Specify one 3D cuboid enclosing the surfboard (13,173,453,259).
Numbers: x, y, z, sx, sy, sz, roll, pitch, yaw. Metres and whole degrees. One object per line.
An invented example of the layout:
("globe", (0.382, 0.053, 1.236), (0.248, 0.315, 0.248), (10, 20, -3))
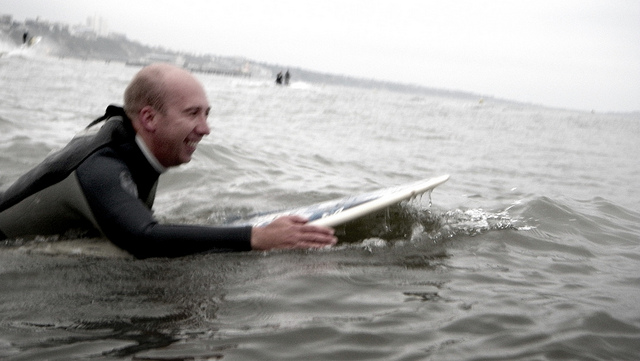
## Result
("surfboard", (-0.984, 0.407, 5.874), (3.887, 0.268, 0.534), (-8, 9, -24))
